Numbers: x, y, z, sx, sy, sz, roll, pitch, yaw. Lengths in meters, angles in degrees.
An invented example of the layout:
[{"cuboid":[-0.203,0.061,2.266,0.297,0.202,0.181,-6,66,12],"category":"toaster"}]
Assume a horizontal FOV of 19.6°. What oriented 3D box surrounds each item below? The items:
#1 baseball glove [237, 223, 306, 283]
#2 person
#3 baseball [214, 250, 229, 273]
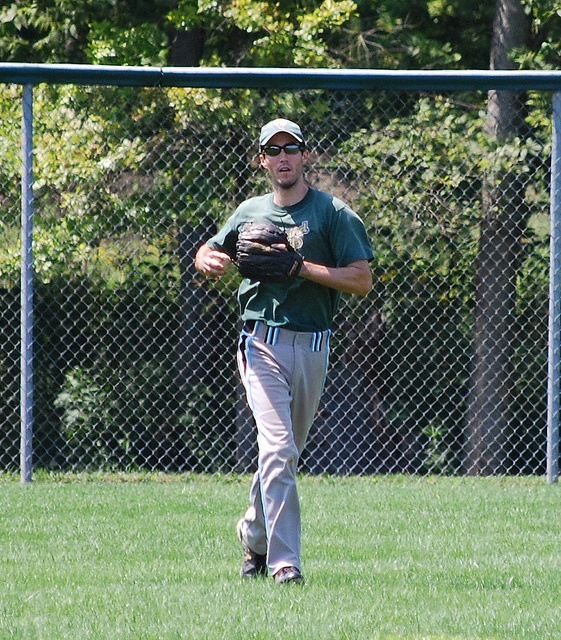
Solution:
[{"cuboid":[-0.066,-0.339,8.448,0.313,0.274,0.149,8,-20,18],"category":"baseball glove"},{"cuboid":[0.029,0.130,8.623,0.719,2.302,1.021,-5,13,-30],"category":"person"},{"cuboid":[-0.323,-0.297,8.662,0.095,0.099,0.080,1,8,-8],"category":"baseball"}]
